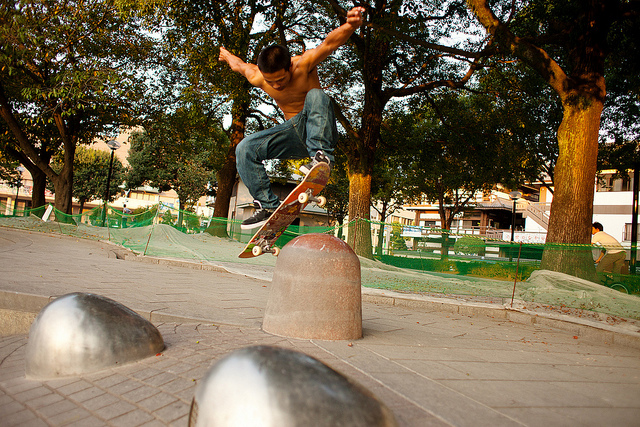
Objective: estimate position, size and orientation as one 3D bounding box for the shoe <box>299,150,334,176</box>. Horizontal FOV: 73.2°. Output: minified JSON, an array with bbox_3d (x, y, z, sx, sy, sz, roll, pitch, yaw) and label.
[{"bbox_3d":[-0.071,-0.757,6.266,0.308,0.406,0.122,45,-31,5],"label":"shoe"}]

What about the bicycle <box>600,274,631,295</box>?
[{"bbox_3d":[7.901,1.898,11.631,0.784,0.478,0.401,-3,-15,24],"label":"bicycle"}]

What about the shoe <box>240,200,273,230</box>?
[{"bbox_3d":[-1.087,-0.005,7.305,0.409,0.501,1.093,5,-5,-15],"label":"shoe"}]
